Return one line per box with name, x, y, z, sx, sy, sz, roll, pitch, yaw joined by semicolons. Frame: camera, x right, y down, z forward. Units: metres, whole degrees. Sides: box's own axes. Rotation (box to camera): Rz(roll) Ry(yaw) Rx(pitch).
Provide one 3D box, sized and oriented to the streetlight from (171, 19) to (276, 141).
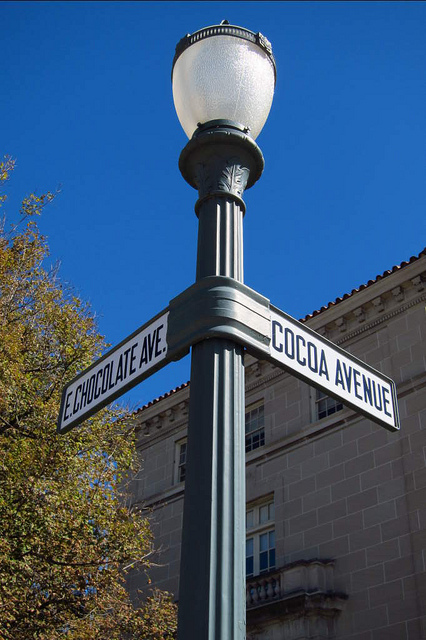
streetlight;0.005;-1.619;5.834;0.690;0.806;0.704;-1;-7;42
